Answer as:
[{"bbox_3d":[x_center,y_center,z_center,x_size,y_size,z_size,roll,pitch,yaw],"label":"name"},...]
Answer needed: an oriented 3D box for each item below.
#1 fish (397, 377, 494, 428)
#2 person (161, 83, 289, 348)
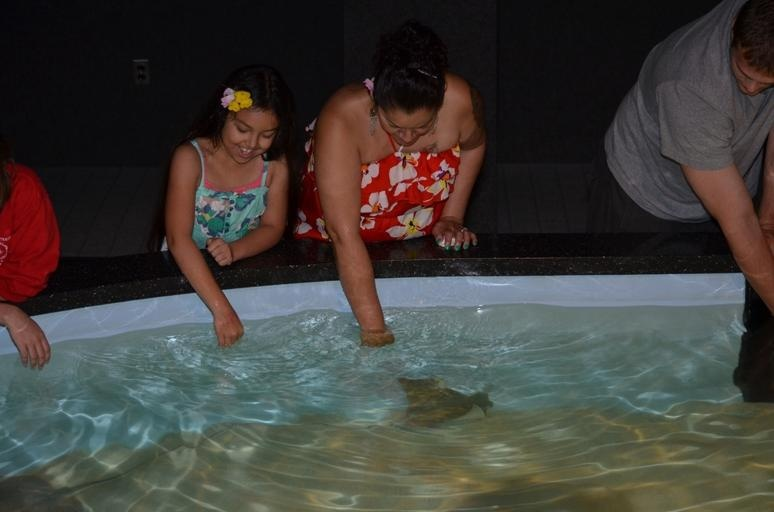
[{"bbox_3d":[0.195,0.479,1.857,0.293,0.086,0.199,-8,15,1],"label":"fish"},{"bbox_3d":[-0.688,-0.187,2.309,0.437,0.918,0.676,0,18,25],"label":"person"}]
